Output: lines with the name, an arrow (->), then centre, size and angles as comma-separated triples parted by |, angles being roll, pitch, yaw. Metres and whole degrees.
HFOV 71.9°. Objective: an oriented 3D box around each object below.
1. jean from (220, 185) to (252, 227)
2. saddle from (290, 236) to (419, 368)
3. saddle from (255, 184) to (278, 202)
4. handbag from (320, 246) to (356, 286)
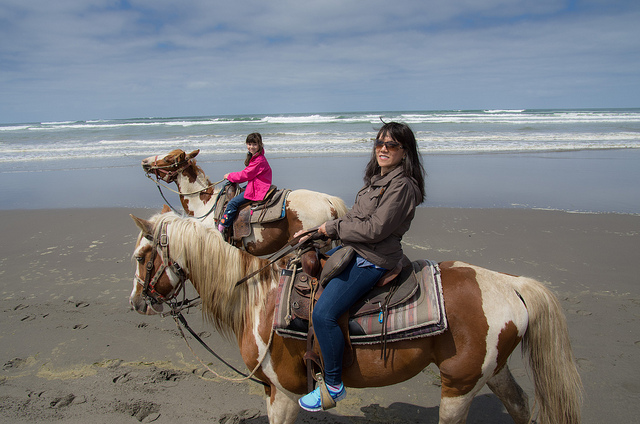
jean -> -1.783, -0.081, 9.095 | 0.281, 0.486, 1.050 | 8, 30, 21
saddle -> 0.386, 1.249, 6.562 | 1.426, 1.731, 0.707 | 0, -5, 1
saddle -> -1.074, -0.383, 9.108 | 0.526, 0.278, 0.143 | -18, 21, -42
handbag -> 0.204, 0.706, 5.907 | 0.521, 0.172, 0.404 | -52, 13, -12
